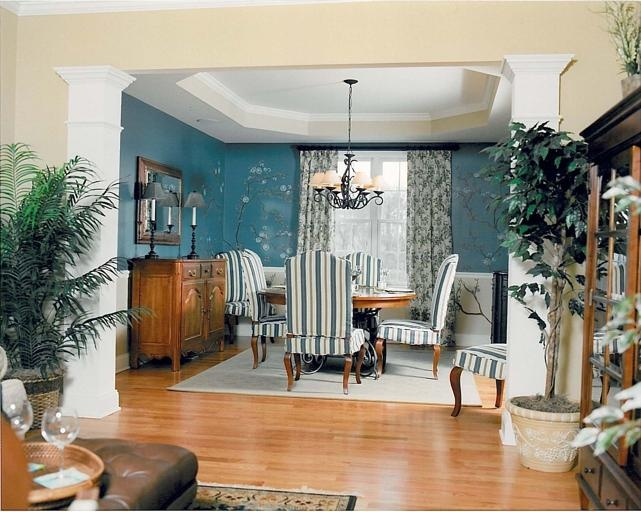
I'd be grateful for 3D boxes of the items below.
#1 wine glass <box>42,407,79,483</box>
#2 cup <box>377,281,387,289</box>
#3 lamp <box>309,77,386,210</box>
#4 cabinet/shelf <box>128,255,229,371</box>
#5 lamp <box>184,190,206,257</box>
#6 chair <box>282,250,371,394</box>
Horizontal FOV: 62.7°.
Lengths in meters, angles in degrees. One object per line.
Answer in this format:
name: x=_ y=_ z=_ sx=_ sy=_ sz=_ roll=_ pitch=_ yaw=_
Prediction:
wine glass: x=-1.043 y=0.726 z=2.118 sx=0.122 sy=0.272 sz=0.219 roll=-1 pitch=3 yaw=-27
cup: x=0.646 y=0.310 z=5.430 sx=0.071 sy=0.054 sz=0.058 roll=-1 pitch=-1 yaw=10
lamp: x=0.329 y=-1.240 z=5.736 sx=0.787 sy=1.381 sz=0.705 roll=1 pitch=4 yaw=-6
cabinet/shelf: x=-1.493 y=0.586 z=5.940 sx=0.537 sy=1.079 sz=1.403 roll=1 pitch=-1 yaw=9
lamp: x=-1.496 y=-0.386 z=6.289 sx=0.237 sy=0.821 sz=1.017 roll=0 pitch=3 yaw=-14
chair: x=0.038 y=0.577 z=4.628 sx=0.706 sy=1.247 sz=0.480 roll=1 pitch=3 yaw=5
